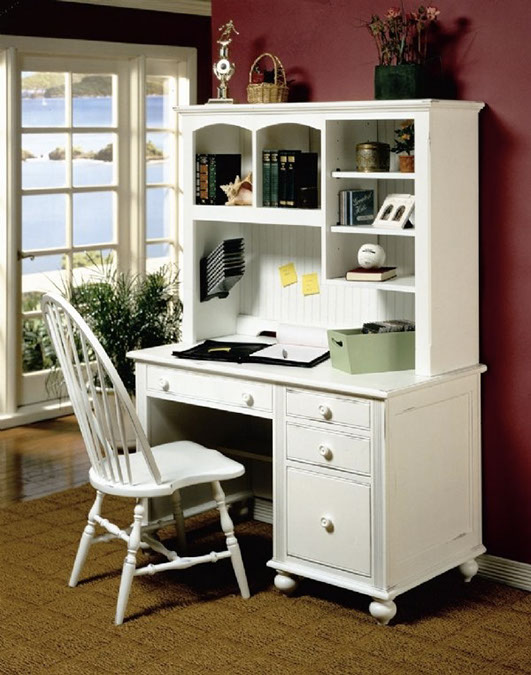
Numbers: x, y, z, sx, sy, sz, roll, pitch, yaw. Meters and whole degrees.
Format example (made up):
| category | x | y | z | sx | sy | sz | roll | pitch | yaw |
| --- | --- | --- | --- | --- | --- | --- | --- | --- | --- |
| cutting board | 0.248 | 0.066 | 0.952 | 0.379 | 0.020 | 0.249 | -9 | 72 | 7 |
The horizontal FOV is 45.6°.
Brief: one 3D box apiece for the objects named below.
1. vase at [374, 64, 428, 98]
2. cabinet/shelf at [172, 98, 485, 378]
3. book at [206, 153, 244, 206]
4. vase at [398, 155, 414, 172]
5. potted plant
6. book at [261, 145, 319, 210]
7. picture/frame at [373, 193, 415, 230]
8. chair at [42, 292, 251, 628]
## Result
| category | x | y | z | sx | sy | sz | roll | pitch | yaw |
| --- | --- | --- | --- | --- | --- | --- | --- | --- | --- |
| vase | 0.402 | -0.750 | 1.852 | 0.110 | 0.075 | 0.063 | 7 | 15 | 35 |
| cabinet/shelf | 0.220 | -0.328 | 2.065 | 1.036 | 0.857 | 0.331 | 3 | 6 | 39 |
| book | -0.150 | -0.583 | 2.329 | 0.133 | 0.182 | 0.053 | -15 | 23 | -43 |
| vase | 0.424 | -0.538 | 1.951 | 0.059 | 0.063 | 0.060 | 3 | 17 | 8 |
| potted plant | -0.800 | -0.118 | 3.632 | 0.808 | 1.255 | 0.621 | -12 | 22 | -41 |
| book | 0.079 | -0.526 | 2.105 | 0.190 | 0.207 | 0.074 | 7 | 16 | 35 |
| picture/frame | 0.382 | -0.380 | 1.897 | 0.116 | 0.132 | 0.160 | 0 | 0 | 10 |
| chair | -0.397 | 0.345 | 2.034 | 0.663 | 1.079 | 0.594 | -3 | 5 | -37 |
